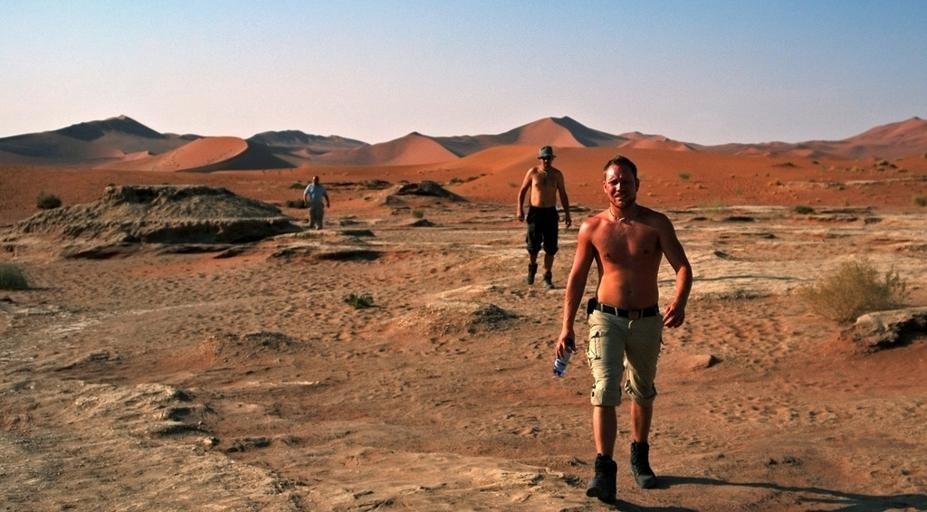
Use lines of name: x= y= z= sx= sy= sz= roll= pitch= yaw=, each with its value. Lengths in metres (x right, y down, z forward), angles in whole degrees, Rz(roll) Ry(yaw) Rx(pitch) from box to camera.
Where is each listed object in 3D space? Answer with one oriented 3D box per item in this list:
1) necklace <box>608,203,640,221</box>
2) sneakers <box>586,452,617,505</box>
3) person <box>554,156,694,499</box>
necklace: x=1.570 y=-0.419 z=5.871 sx=0.242 sy=0.119 sz=0.194 roll=0 pitch=0 yaw=0
sneakers: x=1.312 y=2.095 z=5.746 sx=0.327 sy=0.456 sz=0.209 roll=-1 pitch=3 yaw=-1
person: x=1.551 y=0.656 z=5.916 sx=1.248 sy=3.290 sz=0.582 roll=-2 pitch=3 yaw=-13
